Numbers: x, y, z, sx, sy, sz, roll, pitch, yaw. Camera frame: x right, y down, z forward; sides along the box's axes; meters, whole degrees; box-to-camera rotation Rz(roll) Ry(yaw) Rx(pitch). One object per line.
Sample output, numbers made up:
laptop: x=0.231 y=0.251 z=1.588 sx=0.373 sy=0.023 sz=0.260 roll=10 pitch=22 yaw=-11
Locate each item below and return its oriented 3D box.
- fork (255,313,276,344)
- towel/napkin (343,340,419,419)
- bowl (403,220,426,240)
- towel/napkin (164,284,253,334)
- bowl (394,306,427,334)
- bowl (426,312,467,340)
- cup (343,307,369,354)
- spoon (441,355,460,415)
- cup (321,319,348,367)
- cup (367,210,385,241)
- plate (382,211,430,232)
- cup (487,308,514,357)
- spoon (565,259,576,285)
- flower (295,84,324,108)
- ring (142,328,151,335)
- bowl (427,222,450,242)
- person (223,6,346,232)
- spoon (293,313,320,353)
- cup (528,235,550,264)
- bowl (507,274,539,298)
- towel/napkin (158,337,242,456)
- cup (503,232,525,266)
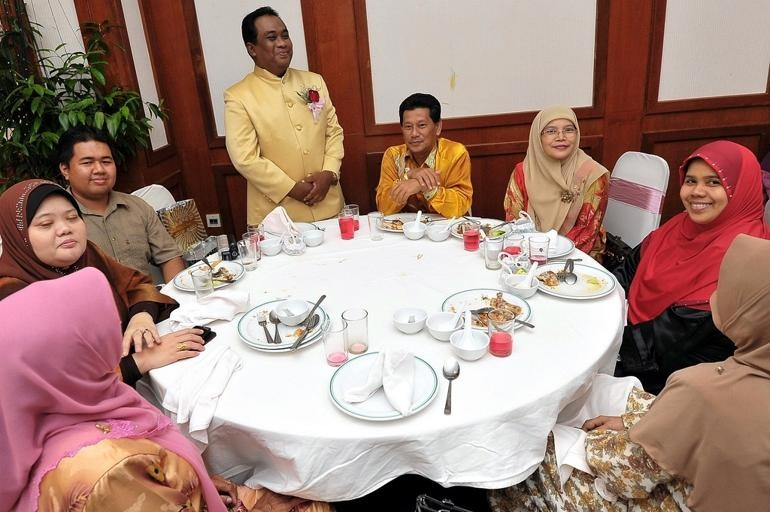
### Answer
fork: x=-0.507 y=0.296 z=2.172 sx=0.045 sy=0.031 sz=0.260 roll=-6 pitch=29 yaw=-14
towel/napkin: x=-0.017 y=0.446 z=1.837 sx=0.246 sy=0.149 sz=0.200 roll=1 pitch=27 yaw=7
bowl: x=0.172 y=-0.163 z=2.901 sx=0.101 sy=0.060 sz=0.108 roll=-5 pitch=41 yaw=4
towel/napkin: x=-0.777 y=0.228 z=2.277 sx=0.242 sy=0.083 sz=0.222 roll=-7 pitch=29 yaw=-11
bowl: x=0.107 y=0.267 z=2.146 sx=0.104 sy=0.053 sz=0.106 roll=-5 pitch=40 yaw=4
bowl: x=0.252 y=0.290 z=2.095 sx=0.140 sy=0.068 sz=0.096 roll=14 pitch=46 yaw=43
cup: x=-0.116 y=0.303 z=2.039 sx=0.092 sy=0.155 sz=0.101 roll=-6 pitch=24 yaw=3
spoon: x=0.232 y=0.475 z=1.839 sx=0.058 sy=0.037 sz=0.261 roll=-1 pitch=35 yaw=11
cup: x=-0.199 y=0.352 z=2.026 sx=0.101 sy=0.172 sz=0.103 roll=-3 pitch=25 yaw=1
cup: x=-0.052 y=-0.181 z=2.992 sx=0.133 sy=0.226 sz=0.140 roll=-2 pitch=6 yaw=0
plate: x=0.108 y=-0.219 z=3.096 sx=0.168 sy=0.036 sz=0.175 roll=-5 pitch=20 yaw=-9
cup: x=0.448 y=0.315 z=2.000 sx=0.084 sy=0.168 sz=0.160 roll=-1 pitch=13 yaw=3
spoon: x=0.871 y=0.078 z=2.400 sx=0.040 sy=0.022 sz=0.133 roll=3 pitch=55 yaw=5
flower: x=-0.507 y=-1.100 z=3.494 sx=0.140 sy=0.061 sz=0.145 roll=-5 pitch=-7 yaw=15
ring: x=-1.008 y=0.318 z=2.163 sx=0.020 sy=0.015 sz=0.028 roll=-4 pitch=19 yaw=-15
bowl: x=0.293 y=-0.147 z=2.869 sx=0.100 sy=0.058 sz=0.106 roll=-6 pitch=34 yaw=4
person: x=-0.693 y=-0.919 z=3.503 sx=0.766 sy=1.433 sz=0.639 roll=-3 pitch=26 yaw=-1
spoon: x=-0.315 y=0.307 z=2.124 sx=0.035 sy=0.039 sz=0.245 roll=40 pitch=28 yaw=-7
cup: x=0.755 y=-0.033 z=2.523 sx=0.094 sy=0.158 sz=0.097 roll=-2 pitch=15 yaw=1
bowl: x=0.609 y=0.123 z=2.309 sx=0.104 sy=0.059 sz=0.111 roll=-7 pitch=33 yaw=5
towel/napkin: x=-0.686 y=0.567 z=2.034 sx=0.335 sy=0.108 sz=0.336 roll=30 pitch=55 yaw=18
cup: x=0.630 y=-0.034 z=2.505 sx=0.081 sy=0.153 sz=0.145 roll=-8 pitch=11 yaw=1
